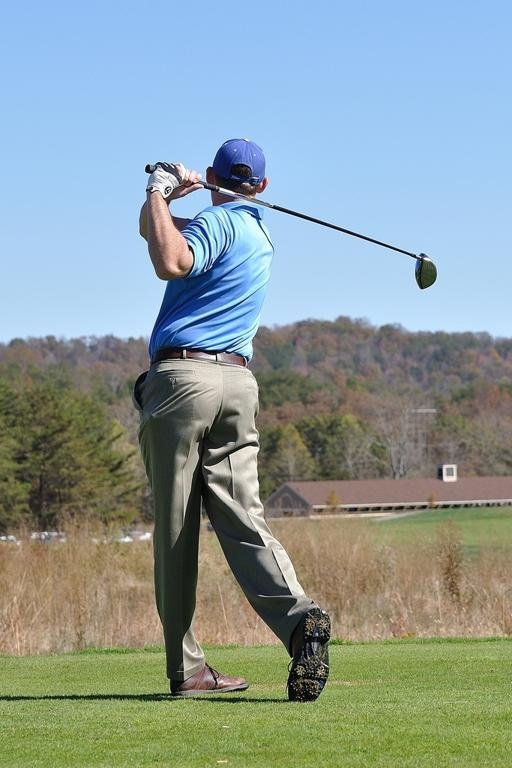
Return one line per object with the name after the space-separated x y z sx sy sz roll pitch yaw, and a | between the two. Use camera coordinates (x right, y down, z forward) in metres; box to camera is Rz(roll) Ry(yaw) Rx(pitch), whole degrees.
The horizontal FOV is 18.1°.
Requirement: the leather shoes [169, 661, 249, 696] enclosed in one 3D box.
-0.168 1.025 5.694 0.264 0.126 0.106 -2 -5 -13 | leather shoes

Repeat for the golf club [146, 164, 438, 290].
0.159 -0.588 6.092 1.309 0.181 0.185 16 9 -31 | golf club

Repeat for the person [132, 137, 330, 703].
-0.109 0.103 5.657 0.715 1.927 0.563 1 -1 4 | person

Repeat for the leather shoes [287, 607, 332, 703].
0.183 0.905 5.361 0.163 0.260 0.228 0 -8 8 | leather shoes
